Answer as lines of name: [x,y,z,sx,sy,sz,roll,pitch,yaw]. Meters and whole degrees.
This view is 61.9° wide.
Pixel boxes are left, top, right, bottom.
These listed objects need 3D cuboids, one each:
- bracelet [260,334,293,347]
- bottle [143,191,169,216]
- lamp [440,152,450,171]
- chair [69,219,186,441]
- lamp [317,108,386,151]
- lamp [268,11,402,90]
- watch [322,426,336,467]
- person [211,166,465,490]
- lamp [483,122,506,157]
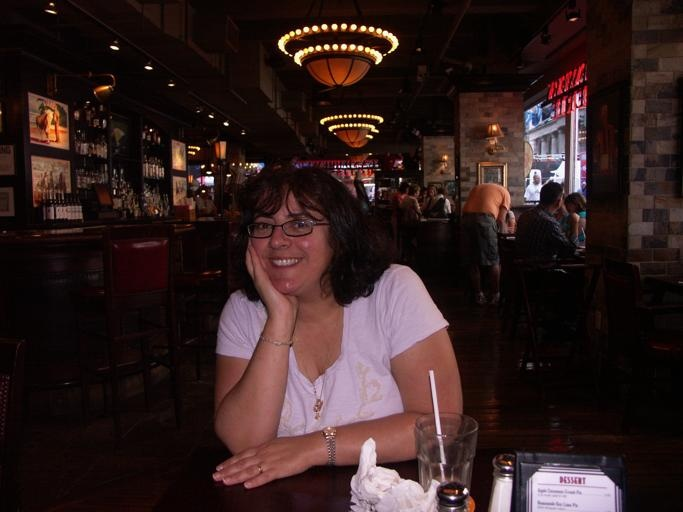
bracelet: [-0.255,0.327,2.192,0.117,0.047,0.031,-2,9,1]
bottle: [-3.463,-0.982,10.729,0.326,0.486,1.213,-4,10,-12]
lamp: [2.901,-2.587,16.032,0.313,0.639,0.333,0,4,10]
chair: [-1.637,0.492,4.378,0.756,1.523,1.143,-7,10,-27]
lamp: [0.305,-3.660,16.550,1.661,0.678,1.764,-2,-1,1]
lamp: [-0.060,-2.579,7.590,1.355,0.601,1.392,-3,21,-10]
watch: [-0.031,0.674,2.004,0.062,0.111,0.101,2,39,4]
person: [-0.064,0.251,2.326,0.901,1.346,1.055,-9,-19,11]
lamp: [2.629,-1.978,9.716,0.332,0.539,0.234,-1,9,8]
